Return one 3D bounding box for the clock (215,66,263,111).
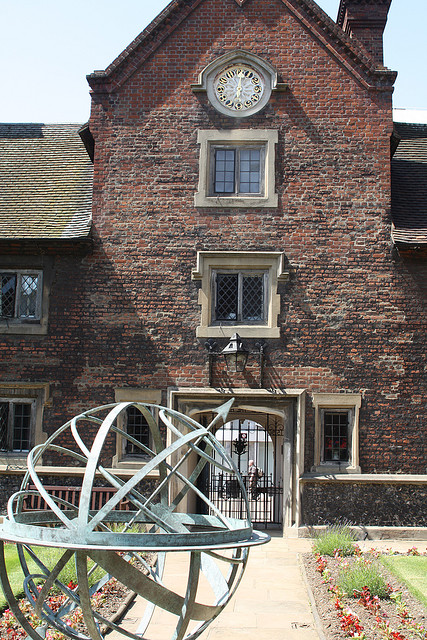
[{"bbox_3d":[0.445,-4.097,16.927,0.792,0.818,0.087,2,-15,2],"label":"clock"}]
